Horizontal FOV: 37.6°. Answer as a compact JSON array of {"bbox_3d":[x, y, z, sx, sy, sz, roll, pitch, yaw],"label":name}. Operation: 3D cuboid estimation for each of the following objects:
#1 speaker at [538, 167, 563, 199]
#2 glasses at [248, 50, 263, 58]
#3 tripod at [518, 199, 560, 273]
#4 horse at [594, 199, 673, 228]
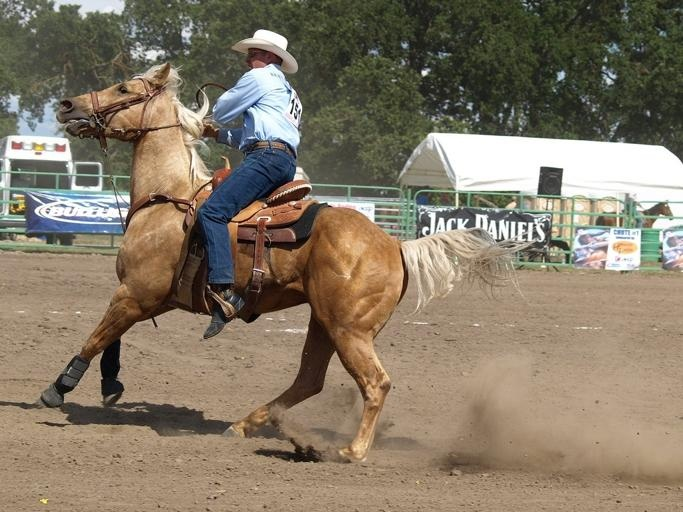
[{"bbox_3d":[5.679,-2.054,27.407,0.635,0.814,0.978,1,1,9],"label":"speaker"},{"bbox_3d":[-0.979,-2.345,11.652,0.131,0.050,0.084,6,1,7],"label":"glasses"},{"bbox_3d":[4.837,-0.419,24.513,1.246,1.772,0.830,11,20,32],"label":"tripod"},{"bbox_3d":[7.993,-1.135,27.553,1.934,0.744,3.959,1,1,16],"label":"horse"}]
